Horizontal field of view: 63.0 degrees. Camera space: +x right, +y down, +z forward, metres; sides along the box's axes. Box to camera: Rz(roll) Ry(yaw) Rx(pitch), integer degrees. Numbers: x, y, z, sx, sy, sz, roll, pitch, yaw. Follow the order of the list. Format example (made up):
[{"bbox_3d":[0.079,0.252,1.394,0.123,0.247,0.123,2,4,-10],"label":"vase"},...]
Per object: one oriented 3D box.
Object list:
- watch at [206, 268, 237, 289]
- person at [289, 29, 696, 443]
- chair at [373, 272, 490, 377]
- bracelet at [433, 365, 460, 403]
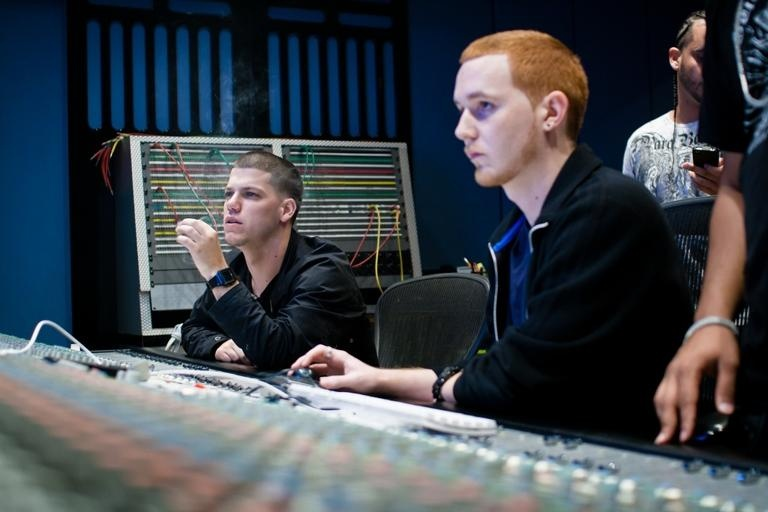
[{"bbox_3d":[-0.496,0.064,1.959,0.084,0.052,0.083,-7,-22,-39],"label":"watch"},{"bbox_3d":[0.290,0.029,1.476,0.929,1.014,0.632,-1,-7,-15],"label":"person"},{"bbox_3d":[0.155,0.205,2.130,0.326,0.414,0.356,1,-2,38],"label":"chair"},{"bbox_3d":[0.119,0.262,1.297,0.024,0.055,0.064,16,32,18],"label":"bracelet"}]
